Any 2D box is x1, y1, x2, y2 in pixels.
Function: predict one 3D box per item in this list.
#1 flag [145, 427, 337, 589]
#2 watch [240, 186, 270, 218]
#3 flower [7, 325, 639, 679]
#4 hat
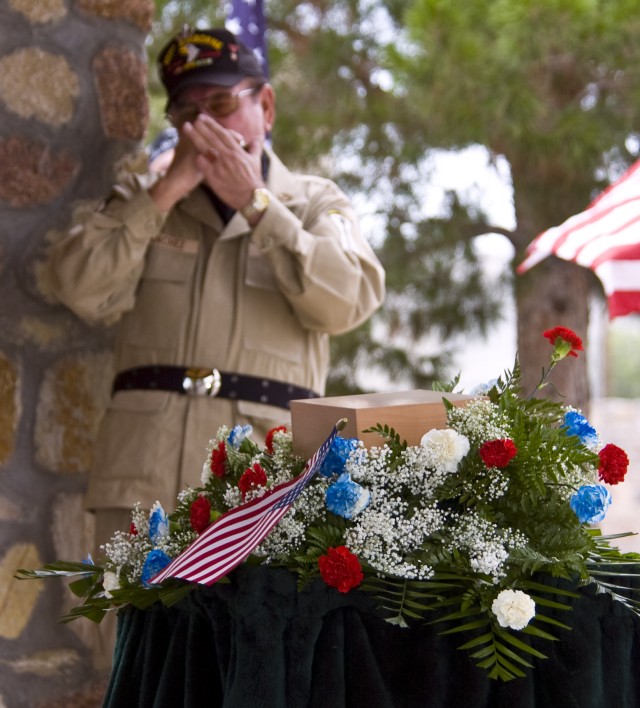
[{"bbox_3d":[-0.121,0.254,2.234,0.104,0.407,0.021,29,-35,28],"label":"flag"},{"bbox_3d":[-0.126,-0.302,2.791,0.054,0.064,0.027,4,-12,14],"label":"watch"},{"bbox_3d":[0.158,0.258,2.154,0.653,0.268,0.662,-7,2,-18],"label":"flower"},{"bbox_3d":[-0.245,-0.609,2.886,0.205,0.147,0.285,-14,7,12],"label":"hat"}]
